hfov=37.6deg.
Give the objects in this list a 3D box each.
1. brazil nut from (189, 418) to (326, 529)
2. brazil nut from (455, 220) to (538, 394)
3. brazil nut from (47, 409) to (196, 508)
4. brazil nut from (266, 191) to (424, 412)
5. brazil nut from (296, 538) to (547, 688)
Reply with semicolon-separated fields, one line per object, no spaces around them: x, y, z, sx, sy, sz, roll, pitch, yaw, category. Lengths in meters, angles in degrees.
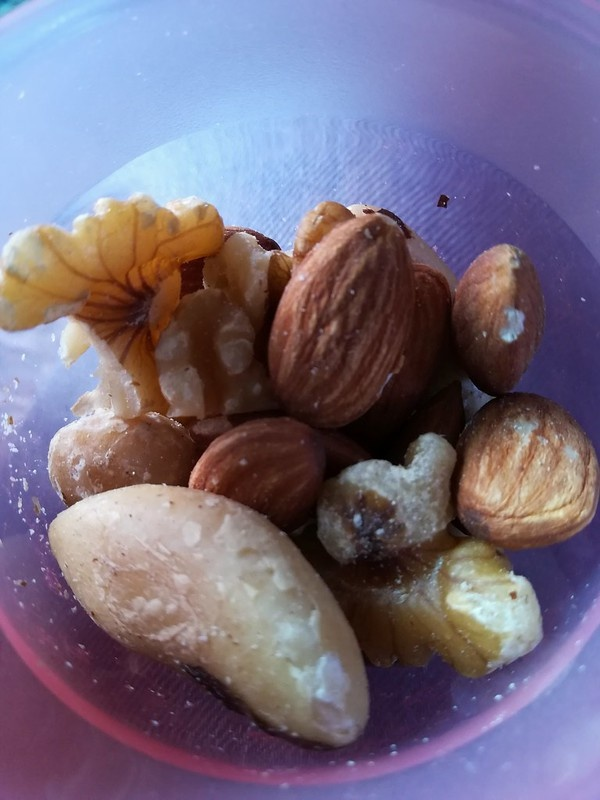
-0.017;0.032;0.401;0.064;0.045;0.032;-3;25;-10;brazil nut
0.095;-0.040;0.424;0.052;0.065;0.041;2;19;9;brazil nut
-0.087;0.028;0.436;0.073;0.039;0.038;6;-9;10;brazil nut
0.018;-0.048;0.435;0.067;0.089;0.056;25;30;1;brazil nut
0.062;0.101;0.440;0.107;0.063;0.025;12;26;12;brazil nut
